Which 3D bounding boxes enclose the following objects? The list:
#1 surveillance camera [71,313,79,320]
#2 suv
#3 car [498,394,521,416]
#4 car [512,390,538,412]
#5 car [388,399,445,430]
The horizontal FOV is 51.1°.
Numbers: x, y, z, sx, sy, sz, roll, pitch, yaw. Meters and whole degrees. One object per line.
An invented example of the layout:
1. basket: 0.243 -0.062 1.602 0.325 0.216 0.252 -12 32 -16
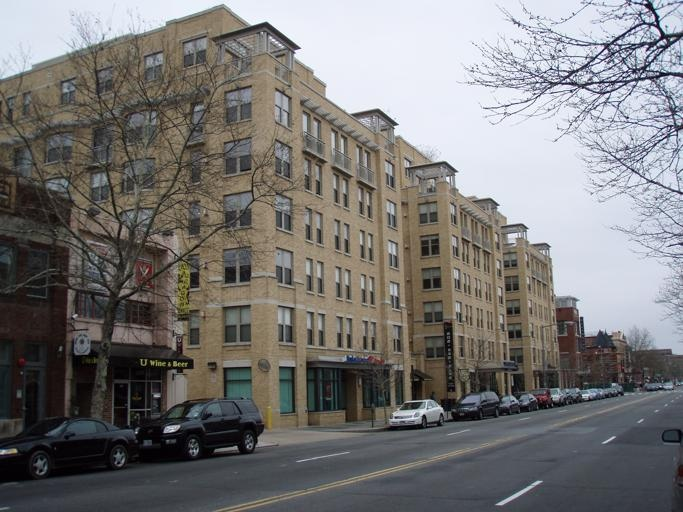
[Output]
1. surveillance camera: -11.637 2.604 31.163 0.082 0.332 0.392 -9 -19 21
2. suv: -5.232 6.365 26.771 1.397 2.391 4.593 -18 -23 40
3. car: 13.416 11.838 56.911 1.224 0.829 2.461 -12 -24 26
4. car: 16.000 12.707 62.173 1.298 1.022 3.019 -9 -19 25
5. car: 4.625 9.372 42.789 1.774 1.766 3.680 -17 -23 38
